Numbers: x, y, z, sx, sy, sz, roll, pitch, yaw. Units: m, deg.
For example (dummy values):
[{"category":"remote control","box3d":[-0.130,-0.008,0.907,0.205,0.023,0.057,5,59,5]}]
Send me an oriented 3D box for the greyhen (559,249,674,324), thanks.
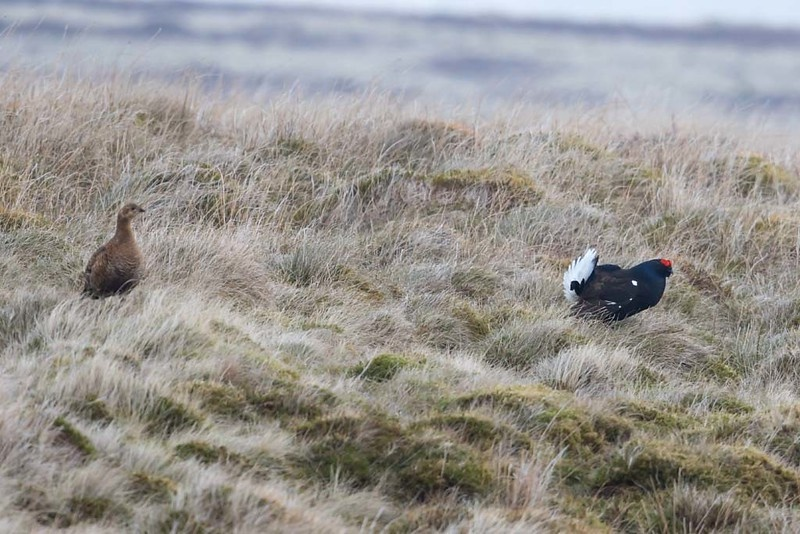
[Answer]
[{"category":"greyhen","box3d":[2.588,0.287,13.475,1.220,0.767,0.619,5,39,5]}]
